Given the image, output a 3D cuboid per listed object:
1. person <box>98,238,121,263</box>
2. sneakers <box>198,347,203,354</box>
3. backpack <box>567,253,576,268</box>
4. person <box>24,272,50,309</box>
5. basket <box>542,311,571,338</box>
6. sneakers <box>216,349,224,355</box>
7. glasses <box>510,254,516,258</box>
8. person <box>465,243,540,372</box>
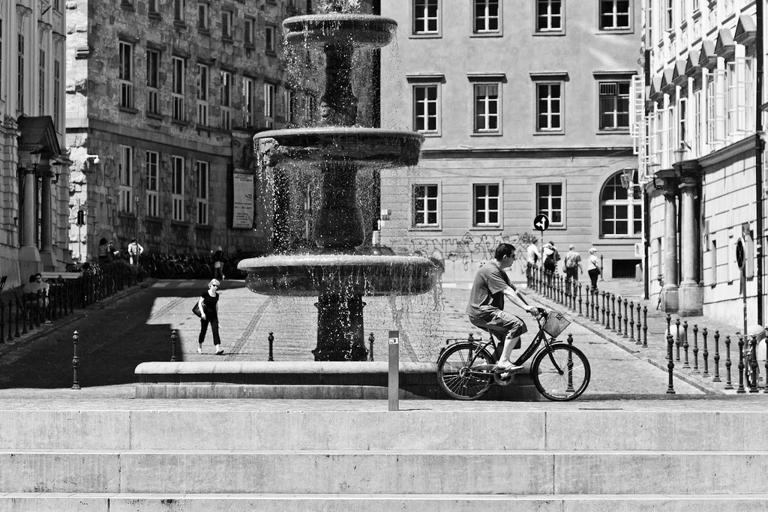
[{"bbox_3d":[-11.306,-0.160,81.745,0.700,1.030,1.682,1,-1,-7],"label":"person"},{"bbox_3d":[-4.897,2.523,53.194,0.185,0.165,0.150,2,40,-3],"label":"sneakers"},{"bbox_3d":[6.414,0.189,68.568,0.307,0.463,0.425,1,2,4],"label":"backpack"},{"bbox_3d":[-10.584,1.109,61.036,0.987,1.360,0.800,0,-6,-2],"label":"person"},{"bbox_3d":[3.681,1.487,43.128,0.463,0.574,0.741,2,2,13],"label":"basket"},{"bbox_3d":[-4.350,2.533,52.891,0.199,0.138,0.275,1,2,-7],"label":"sneakers"},{"bbox_3d":[2.797,0.026,43.529,0.119,0.118,0.108,-1,2,1],"label":"glasses"},{"bbox_3d":[2.449,1.131,42.672,1.318,2.683,0.623,1,2,4],"label":"person"}]
